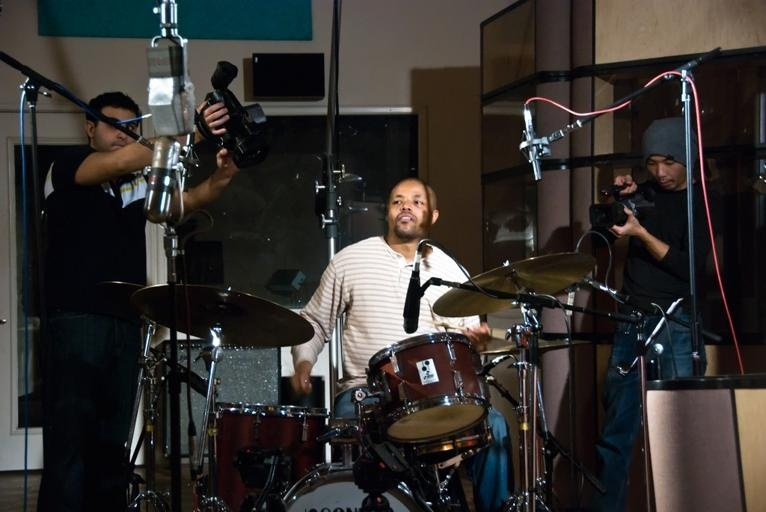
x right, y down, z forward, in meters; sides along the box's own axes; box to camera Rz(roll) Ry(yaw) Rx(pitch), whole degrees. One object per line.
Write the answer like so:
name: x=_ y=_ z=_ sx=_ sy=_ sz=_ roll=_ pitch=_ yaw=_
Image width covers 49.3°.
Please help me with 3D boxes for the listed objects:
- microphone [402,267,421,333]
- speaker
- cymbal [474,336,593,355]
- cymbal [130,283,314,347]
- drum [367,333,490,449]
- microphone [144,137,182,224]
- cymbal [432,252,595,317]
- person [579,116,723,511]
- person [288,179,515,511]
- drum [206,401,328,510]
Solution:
microphone: x=0.139 y=0.210 z=4.003 sx=0.077 sy=0.302 sz=0.087 roll=6 pitch=-4 yaw=-1
speaker: x=-0.959 y=0.811 z=4.709 sx=0.869 sy=0.866 sz=0.343 roll=1 pitch=-11 yaw=-7
cymbal: x=0.847 y=0.495 z=4.596 sx=0.336 sy=0.121 sz=0.307 roll=7 pitch=-14 yaw=-40
cymbal: x=-0.817 y=0.306 z=4.276 sx=0.892 sy=0.327 sz=0.683 roll=0 pitch=-4 yaw=-18
drum: x=0.238 y=0.667 z=4.192 sx=0.574 sy=0.394 sz=0.563 roll=-11 pitch=-27 yaw=-6
microphone: x=-0.918 y=-0.303 z=3.534 sx=0.145 sy=0.348 sz=0.303 roll=-1 pitch=-3 yaw=-9
cymbal: x=0.690 y=0.140 z=4.296 sx=0.481 sy=0.119 sz=0.493 roll=-30 pitch=-29 yaw=20
person: x=1.501 y=0.344 z=4.728 sx=0.683 sy=2.249 sz=0.607 roll=-2 pitch=-3 yaw=22
person: x=0.115 y=0.527 z=4.557 sx=1.305 sy=2.121 sz=1.074 roll=7 pitch=-35 yaw=-12
drum: x=-0.573 y=0.996 z=4.339 sx=0.529 sy=0.490 sz=0.545 roll=-2 pitch=-11 yaw=27
